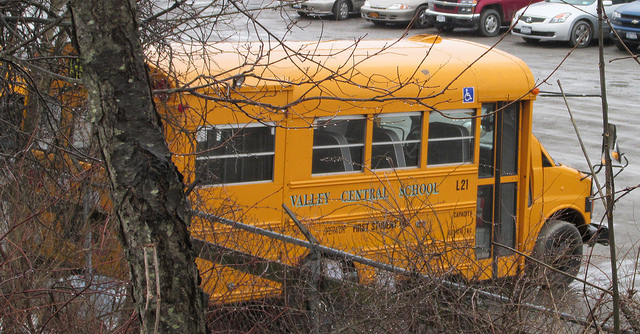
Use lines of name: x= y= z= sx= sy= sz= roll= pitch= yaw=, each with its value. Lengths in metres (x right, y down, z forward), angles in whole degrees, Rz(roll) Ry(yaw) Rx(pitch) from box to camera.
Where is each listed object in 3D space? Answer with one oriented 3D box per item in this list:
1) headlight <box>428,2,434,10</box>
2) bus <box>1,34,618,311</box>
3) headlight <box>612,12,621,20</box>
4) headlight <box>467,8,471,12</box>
headlight: x=4.160 y=-6.026 z=35.589 sx=0.199 sy=0.255 sz=0.378 roll=-5 pitch=11 yaw=-17
bus: x=-0.336 y=0.034 z=16.841 sx=9.918 sy=4.939 sz=5.018 roll=-9 pitch=13 yaw=-35
headlight: x=10.391 y=-5.306 z=33.456 sx=0.450 sy=0.260 sz=0.292 roll=-11 pitch=15 yaw=-43
headlight: x=5.455 y=-5.727 z=34.643 sx=0.109 sy=0.113 sz=0.027 roll=2 pitch=-11 yaw=12
